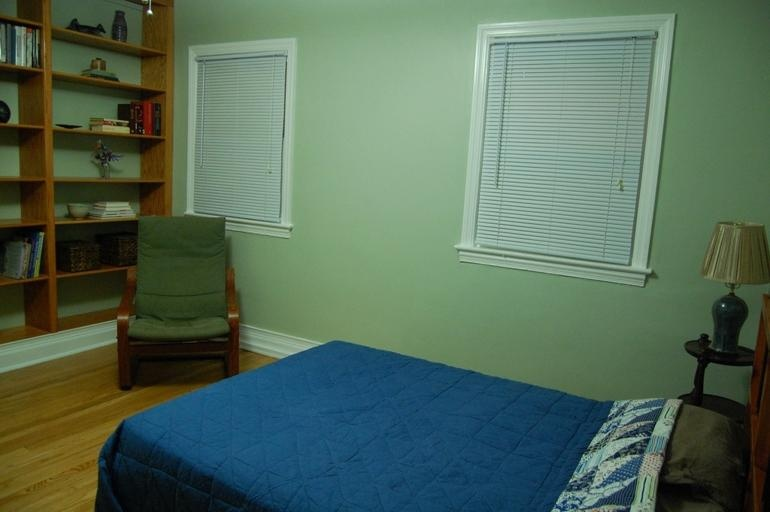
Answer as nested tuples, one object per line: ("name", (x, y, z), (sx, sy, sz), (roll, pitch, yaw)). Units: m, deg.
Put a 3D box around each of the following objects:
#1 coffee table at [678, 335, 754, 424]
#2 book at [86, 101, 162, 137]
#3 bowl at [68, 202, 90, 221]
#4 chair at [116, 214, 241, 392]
("coffee table", (1.956, 0.685, 3.529), (0.507, 0.533, 0.494), (3, 4, 25))
("book", (-2.432, -1.210, 5.265), (0.424, 0.263, 0.425), (4, 7, 30))
("bowl", (-2.716, -0.391, 4.983), (0.175, 0.130, 0.174), (3, 3, 0))
("chair", (-1.667, 0.338, 4.604), (1.083, 1.159, 1.046), (4, 13, -4))
